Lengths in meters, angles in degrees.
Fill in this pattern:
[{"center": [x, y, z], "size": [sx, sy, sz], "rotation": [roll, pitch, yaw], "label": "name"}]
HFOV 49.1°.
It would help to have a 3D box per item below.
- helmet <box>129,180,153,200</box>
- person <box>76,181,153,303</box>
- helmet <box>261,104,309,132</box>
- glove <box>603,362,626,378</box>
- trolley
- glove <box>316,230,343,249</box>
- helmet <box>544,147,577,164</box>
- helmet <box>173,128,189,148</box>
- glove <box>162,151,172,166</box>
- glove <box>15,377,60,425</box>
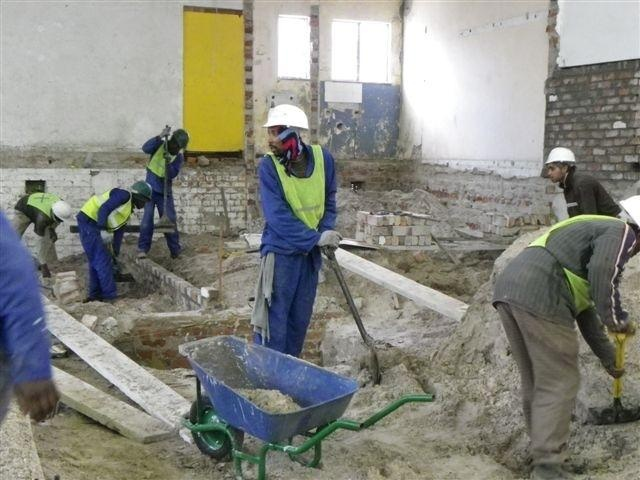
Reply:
[{"center": [-2.497, -0.687, 9.716], "size": [0.285, 0.243, 0.258], "rotation": [-2, 11, -7], "label": "helmet"}, {"center": [-2.905, 0.008, 9.866], "size": [0.933, 1.664, 0.625], "rotation": [-4, 11, -20], "label": "person"}, {"center": [-0.291, -1.122, 6.426], "size": [0.313, 0.191, 0.255], "rotation": [5, 2, -18], "label": "helmet"}, {"center": [2.377, 1.042, 5.645], "size": [0.102, 0.111, 0.129], "rotation": [1, -9, -32], "label": "glove"}, {"center": [-0.323, 1.344, 5.833], "size": [2.301, 1.204, 0.959], "rotation": [13, 7, 40], "label": "trolley"}, {"center": [0.080, -0.007, 6.441], "size": [0.210, 0.165, 0.231], "rotation": [0, 11, -1], "label": "glove"}, {"center": [2.750, -0.954, 7.977], "size": [0.330, 0.225, 0.292], "rotation": [4, 4, 4], "label": "helmet"}, {"center": [-2.172, -1.570, 10.896], "size": [0.266, 0.276, 0.197], "rotation": [-7, 13, -34], "label": "helmet"}, {"center": [-2.429, -1.299, 11.126], "size": [0.103, 0.153, 0.127], "rotation": [-2, -18, -30], "label": "glove"}, {"center": [-1.885, 1.063, 4.716], "size": [0.273, 0.292, 0.229], "rotation": [-7, 6, -33], "label": "glove"}]
